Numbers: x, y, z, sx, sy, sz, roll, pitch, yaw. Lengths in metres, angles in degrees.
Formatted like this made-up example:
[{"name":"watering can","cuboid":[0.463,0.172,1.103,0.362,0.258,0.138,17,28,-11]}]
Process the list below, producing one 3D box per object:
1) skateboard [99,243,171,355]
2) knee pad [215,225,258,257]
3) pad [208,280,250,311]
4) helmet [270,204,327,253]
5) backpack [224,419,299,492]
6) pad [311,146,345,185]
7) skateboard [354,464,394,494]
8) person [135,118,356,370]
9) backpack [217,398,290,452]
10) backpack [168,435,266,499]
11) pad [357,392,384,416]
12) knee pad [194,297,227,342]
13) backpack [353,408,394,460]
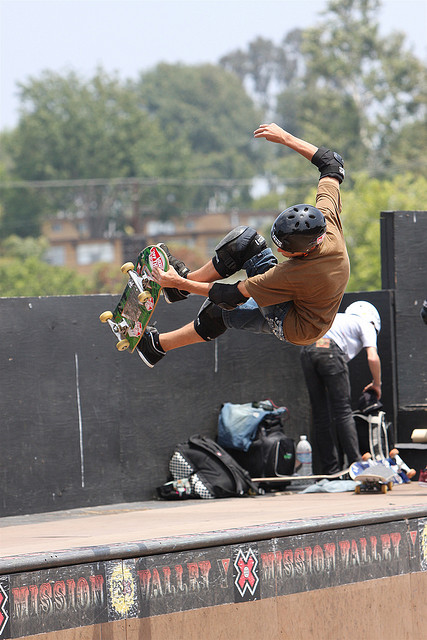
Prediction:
[{"name":"skateboard","cuboid":[-0.444,-0.111,5.892,0.139,0.309,0.842,-11,-27,-30]},{"name":"knee pad","cuboid":[0.136,-0.460,5.667,0.227,0.076,0.157,-24,27,18]},{"name":"pad","cuboid":[0.075,-0.135,5.384,0.193,0.140,0.149,3,29,48]},{"name":"helmet","cuboid":[0.448,-0.485,5.177,0.287,0.262,0.222,1,10,19]},{"name":"backpack","cuboid":[0.306,0.956,7.409,0.579,0.511,0.419,1,-7,35]},{"name":"pad","cuboid":[0.642,-0.869,5.557,0.175,0.214,0.189,-4,0,6]},{"name":"skateboard","cuboid":[1.023,1.023,6.309,0.246,0.183,0.186,-4,0,22]},{"name":"person","cuboid":[0.107,-0.319,5.693,1.468,1.409,0.875,14,45,21]},{"name":"backpack","cuboid":[0.274,0.806,7.346,0.386,0.181,0.374,13,59,36]},{"name":"backpack","cuboid":[0.098,1.073,6.951,0.745,0.269,0.587,21,13,33]},{"name":"pad","cuboid":[1.151,0.616,7.335,0.132,0.159,0.206,-34,7,-31]},{"name":"knee pad","cuboid":[-0.019,-0.005,5.875,0.158,0.188,0.255,-28,-15,-38]},{"name":"backpack","cuboid":[1.202,0.854,7.490,0.306,0.383,0.397,-4,0,27]}]
